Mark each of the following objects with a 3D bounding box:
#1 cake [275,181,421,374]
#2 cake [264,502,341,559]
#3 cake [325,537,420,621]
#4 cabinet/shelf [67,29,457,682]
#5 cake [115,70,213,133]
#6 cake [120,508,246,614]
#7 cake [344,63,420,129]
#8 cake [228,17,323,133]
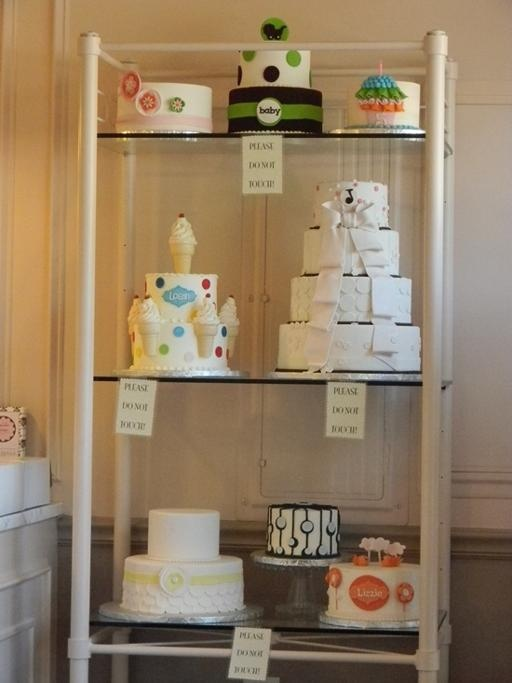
[{"bbox_3d":[0.240,-0.155,2.198,0.363,0.413,0.323,-1,8,-5],"label":"cake"},{"bbox_3d":[0.114,0.449,2.215,0.147,0.081,0.136,0,-6,0],"label":"cake"},{"bbox_3d":[0.265,0.550,2.115,0.222,0.164,0.204,0,2,-26],"label":"cake"},{"bbox_3d":[-0.006,0.068,2.255,0.964,1.671,0.521,1,1,10],"label":"cabinet/shelf"},{"bbox_3d":[-0.211,-0.576,2.249,0.233,0.120,0.241,16,19,41],"label":"cake"},{"bbox_3d":[-0.157,0.521,2.224,0.315,0.208,0.315,-5,-7,37],"label":"cake"},{"bbox_3d":[0.311,-0.565,2.206,0.181,0.115,0.179,2,8,12],"label":"cake"},{"bbox_3d":[0.050,-0.625,2.199,0.251,0.229,0.245,0,1,2],"label":"cake"}]
